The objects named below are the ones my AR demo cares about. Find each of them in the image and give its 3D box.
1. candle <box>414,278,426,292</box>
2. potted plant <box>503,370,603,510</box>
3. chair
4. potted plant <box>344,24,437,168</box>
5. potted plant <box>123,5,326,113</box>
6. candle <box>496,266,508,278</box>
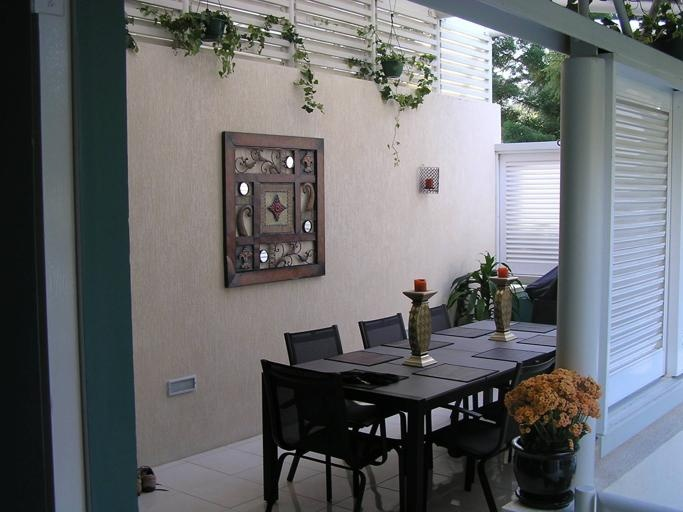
[{"bbox_3d":[0.498,0.177,3.497,0.075,0.088,0.079,0,6,10],"label":"candle"},{"bbox_3d":[0.823,0.715,2.154,0.341,0.525,0.208,1,8,26],"label":"potted plant"},{"bbox_3d":[0.627,1.049,3.828,1.387,1.088,2.170,3,9,40],"label":"chair"},{"bbox_3d":[0.577,-1.704,5.646,0.500,1.478,1.167,3,9,40],"label":"potted plant"},{"bbox_3d":[-0.888,-1.649,4.445,0.416,0.844,1.693,4,10,43],"label":"potted plant"},{"bbox_3d":[1.252,0.123,4.217,0.106,0.109,0.110,-1,-1,1],"label":"candle"}]
